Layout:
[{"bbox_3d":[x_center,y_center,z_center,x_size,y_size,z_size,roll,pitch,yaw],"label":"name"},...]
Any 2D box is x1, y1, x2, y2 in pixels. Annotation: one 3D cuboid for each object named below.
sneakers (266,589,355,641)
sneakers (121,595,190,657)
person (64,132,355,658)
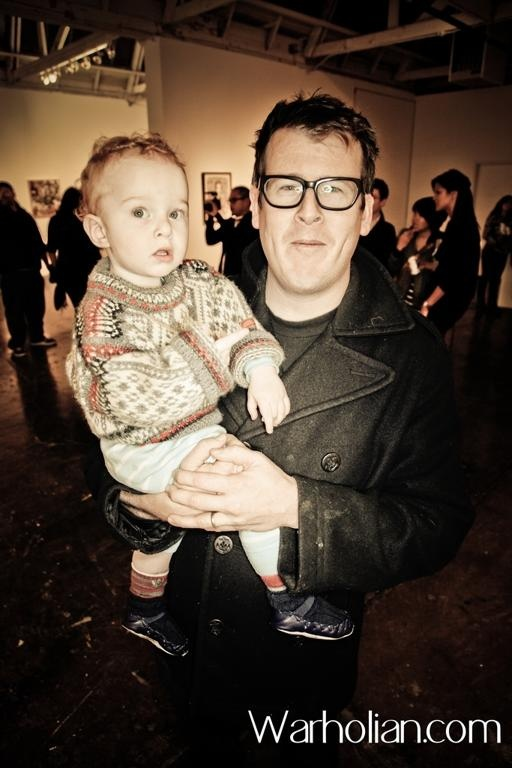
[{"bbox_3d":[0.159,0.705,1.763,0.305,0.113,0.150,0,29,7],"label":"sneakers"},{"bbox_3d":[-0.347,0.854,2.091,0.320,0.124,0.108,14,17,34],"label":"sneakers"},{"bbox_3d":[-0.189,0.113,1.870,0.821,1.702,0.574,4,19,7],"label":"person"}]
